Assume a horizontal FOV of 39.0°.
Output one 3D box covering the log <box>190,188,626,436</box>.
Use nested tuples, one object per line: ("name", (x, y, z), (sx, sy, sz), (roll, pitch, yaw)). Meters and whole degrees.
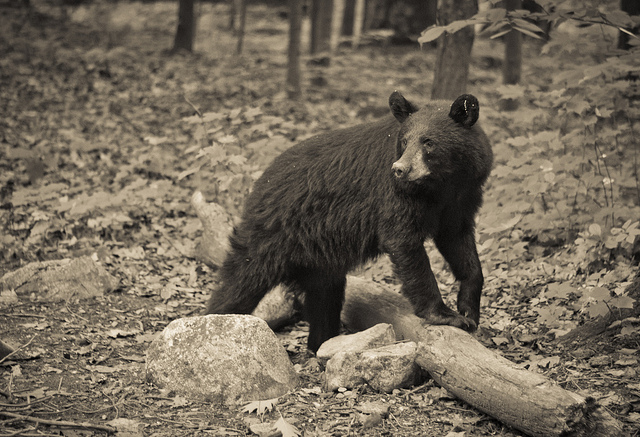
("log", (1.206, 1.252, 11.643), (4.861, 0.712, 0.708), (29, 66, 25))
